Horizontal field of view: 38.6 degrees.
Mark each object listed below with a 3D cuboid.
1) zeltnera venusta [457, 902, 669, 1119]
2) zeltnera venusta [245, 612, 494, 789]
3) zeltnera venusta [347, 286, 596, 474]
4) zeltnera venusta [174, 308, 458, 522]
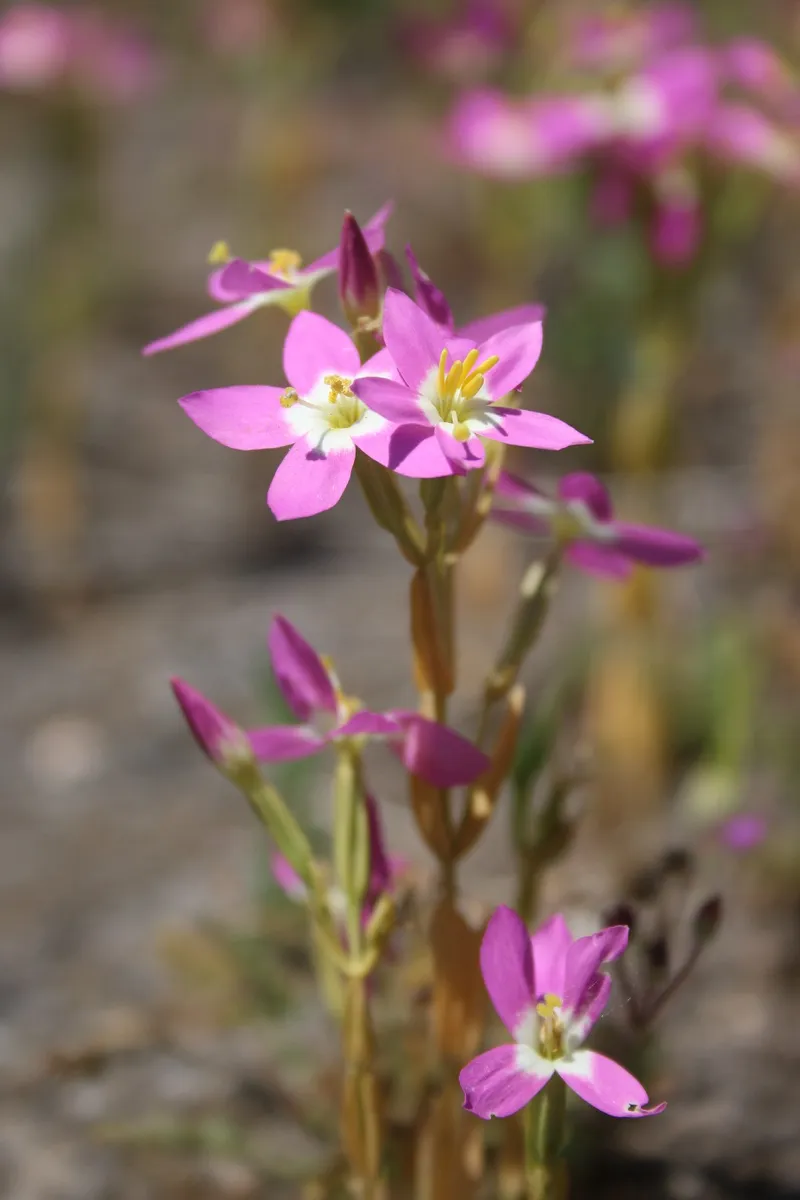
[{"bbox_3d":[0.035,0.097,0.273,0.043,0.041,0.048,-2,56,-1],"label":"zeltnera venusta"},{"bbox_3d":[-0.009,0.028,0.265,0.058,0.063,0.027,26,93,9],"label":"zeltnera venusta"},{"bbox_3d":[0.014,-0.046,0.253,0.049,0.024,0.046,-6,55,-4],"label":"zeltnera venusta"},{"bbox_3d":[-0.002,-0.041,0.267,0.076,0.064,0.023,-3,95,28],"label":"zeltnera venusta"}]
